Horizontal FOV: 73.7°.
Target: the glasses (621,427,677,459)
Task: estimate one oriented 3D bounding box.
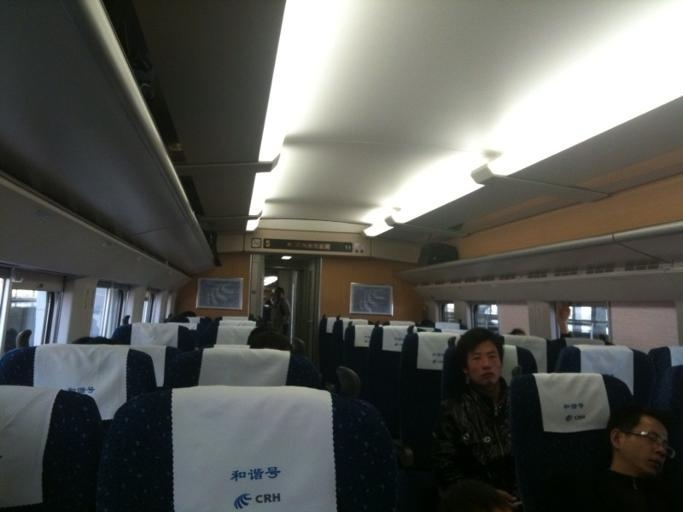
[{"bbox_3d":[1.696,0.998,2.499,0.180,0.060,0.186,32,-6,-31],"label":"glasses"}]
